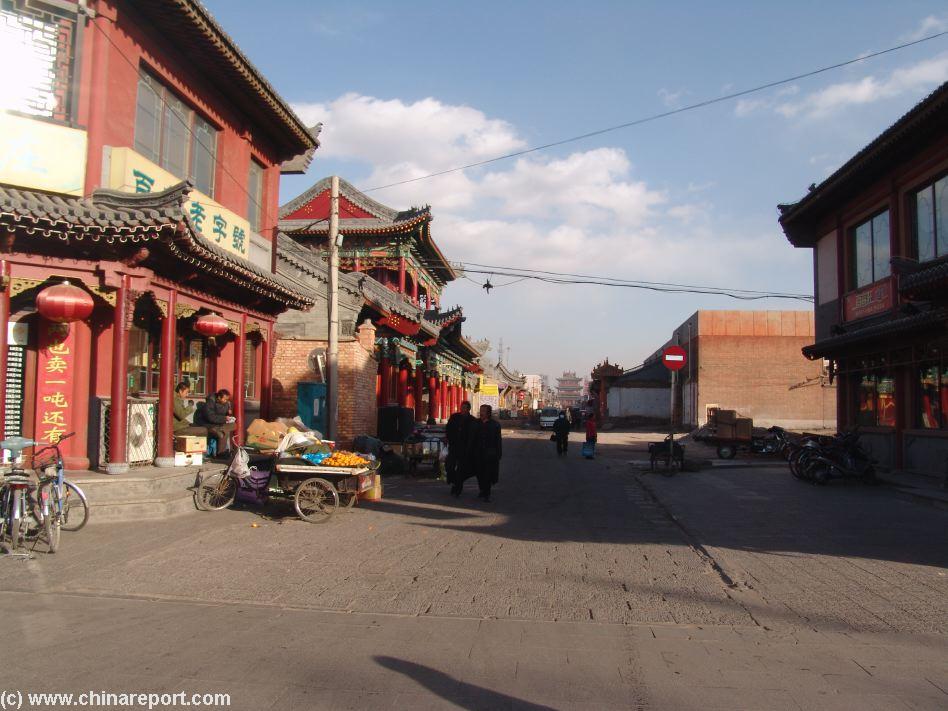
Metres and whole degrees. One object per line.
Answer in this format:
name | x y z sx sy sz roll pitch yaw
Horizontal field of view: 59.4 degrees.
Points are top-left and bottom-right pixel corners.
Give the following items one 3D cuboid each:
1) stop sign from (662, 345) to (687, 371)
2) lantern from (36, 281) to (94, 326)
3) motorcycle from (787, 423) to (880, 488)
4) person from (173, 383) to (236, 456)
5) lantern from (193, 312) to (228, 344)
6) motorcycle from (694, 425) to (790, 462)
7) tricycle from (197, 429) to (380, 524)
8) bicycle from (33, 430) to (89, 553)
stop sign | 4.562 0.063 18.791 0.450 0.515 0.840 1 1 9
lantern | -6.732 -0.837 13.828 0.716 0.803 0.744 0 5 11
motorcycle | 8.295 2.435 19.820 1.890 1.324 0.709 0 -2 3
person | -5.560 1.300 16.813 1.146 1.944 1.189 5 2 23
lantern | -5.367 -0.563 17.155 0.604 0.677 0.621 -1 -1 9
motorcycle | 9.699 3.086 28.607 2.093 1.457 0.740 0 -2 7
tricycle | -3.173 2.017 14.351 2.848 1.411 1.555 2 2 23
bicycle | -6.333 1.975 12.354 1.023 1.420 2.139 -2 -6 -3
